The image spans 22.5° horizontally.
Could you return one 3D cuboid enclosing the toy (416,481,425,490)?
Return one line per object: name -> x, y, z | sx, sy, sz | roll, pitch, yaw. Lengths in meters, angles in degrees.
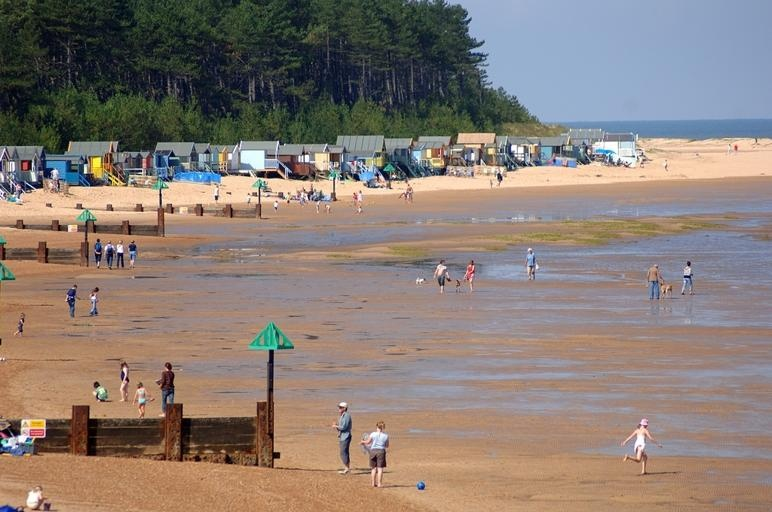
toy -> 2.534, 16.874, 143.143 | 0.491, 0.582, 0.489 | -10, -26, 1
